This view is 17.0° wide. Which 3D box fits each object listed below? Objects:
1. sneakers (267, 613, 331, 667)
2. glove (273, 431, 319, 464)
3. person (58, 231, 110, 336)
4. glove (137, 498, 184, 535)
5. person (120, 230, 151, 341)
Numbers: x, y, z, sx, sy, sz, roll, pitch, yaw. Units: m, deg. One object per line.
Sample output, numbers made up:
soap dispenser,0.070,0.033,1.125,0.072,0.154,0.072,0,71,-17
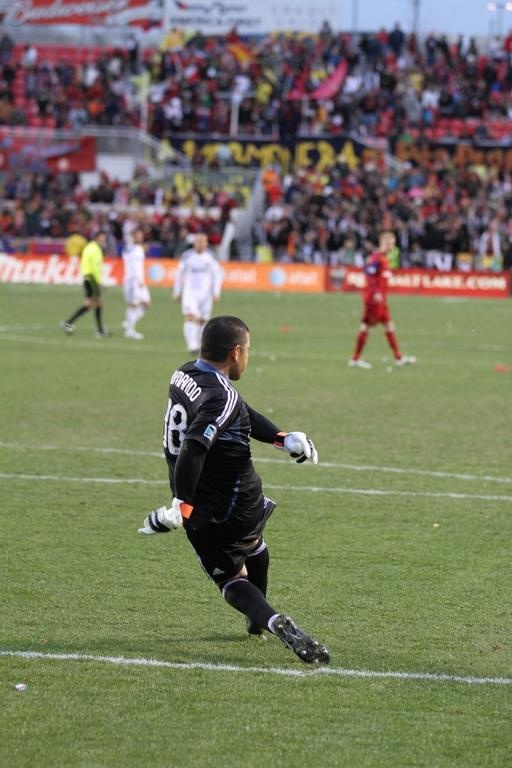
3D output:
sneakers,0.223,1.470,10.022,0.479,0.177,0.206,42,-7,3
glove,0.242,0.403,10.343,0.242,0.114,0.198,30,37,-16
person,-2.126,-1.243,21.139,0.529,1.328,2.543,1,7,-7
glove,-0.560,0.775,9.868,0.237,0.097,0.180,-5,31,10
person,-1.451,-1.205,20.523,0.334,1.232,1.348,1,7,-5
